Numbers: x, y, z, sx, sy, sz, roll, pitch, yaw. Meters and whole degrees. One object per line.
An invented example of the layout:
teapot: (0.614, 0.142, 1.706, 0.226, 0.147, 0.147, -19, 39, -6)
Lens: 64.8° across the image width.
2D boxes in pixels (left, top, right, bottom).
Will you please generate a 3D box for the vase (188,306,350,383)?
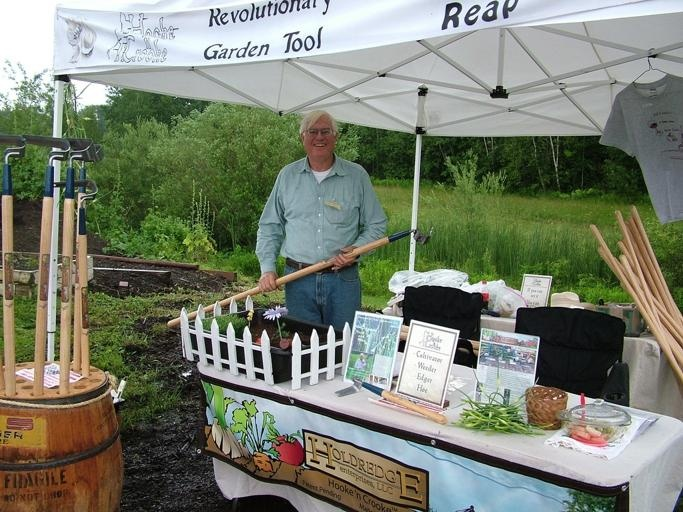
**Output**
vase: (-0.490, 0.519, 3.085, 0.743, 0.220, 0.431, 11, 15, 43)

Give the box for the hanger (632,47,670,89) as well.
hanger: (2.386, -1.463, 4.130, 0.292, 0.211, 0.035, -12, -6, 41)

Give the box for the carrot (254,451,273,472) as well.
carrot: (-0.440, 1.162, 3.043, 0.036, 0.079, 0.120, -1, 25, -38)

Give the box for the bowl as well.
bowl: (1.140, 0.764, 2.470, 0.293, 0.174, 0.254, -6, -6, 36)

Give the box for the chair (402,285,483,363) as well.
chair: (0.909, 0.526, 4.619, 0.616, 0.827, 0.654, 4, -1, 18)

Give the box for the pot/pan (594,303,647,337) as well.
pot/pan: (2.232, 0.482, 4.232, 0.328, 0.208, 0.335, -2, 1, 29)

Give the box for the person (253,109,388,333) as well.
person: (-0.155, -0.298, 4.074, 0.990, 1.567, 0.690, 9, 12, 3)

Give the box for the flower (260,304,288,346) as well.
flower: (-0.404, 0.421, 3.224, 0.133, 0.194, 0.134, -5, 38, 14)
